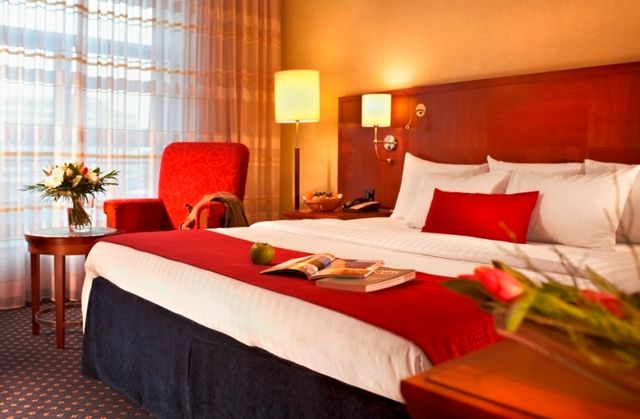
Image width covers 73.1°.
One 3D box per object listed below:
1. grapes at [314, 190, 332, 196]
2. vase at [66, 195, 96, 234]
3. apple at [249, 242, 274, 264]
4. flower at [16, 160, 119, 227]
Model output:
[{"bbox_3d":[0.038,-0.175,4.678,0.116,0.039,0.090,-2,-2,40],"label":"grapes"},{"bbox_3d":[-1.822,0.026,3.325,0.202,0.270,0.222,-1,-3,-38],"label":"vase"},{"bbox_3d":[-0.279,0.203,2.091,0.107,0.102,0.102,6,-4,-5],"label":"apple"},{"bbox_3d":[-1.881,-0.085,3.331,0.638,0.427,0.626,-5,-2,-38],"label":"flower"}]
